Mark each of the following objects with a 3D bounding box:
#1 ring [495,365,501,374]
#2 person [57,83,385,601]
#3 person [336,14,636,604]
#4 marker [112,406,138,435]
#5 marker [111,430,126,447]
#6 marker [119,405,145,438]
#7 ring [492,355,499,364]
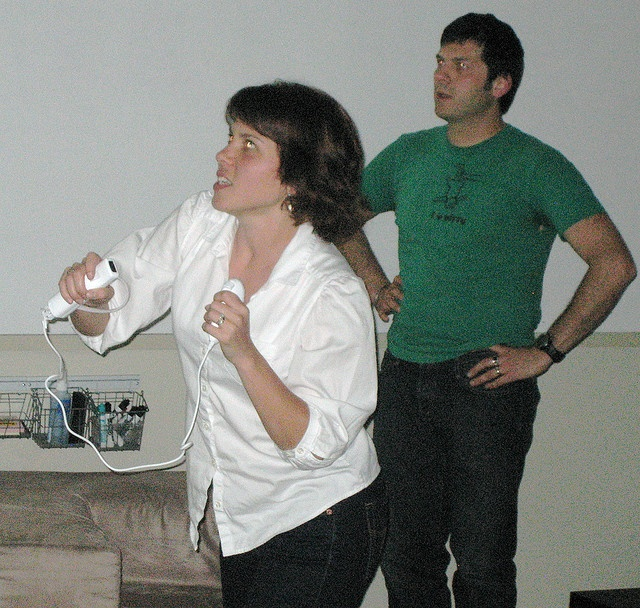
[{"bbox_3d":[0.454,0.168,2.176,0.004,0.018,0.012,-2,-18,44],"label":"ring"},{"bbox_3d":[-0.207,0.089,1.839,0.753,1.107,0.513,4,13,6],"label":"person"},{"bbox_3d":[0.431,0.052,2.278,0.735,1.592,0.385,7,14,16],"label":"person"},{"bbox_3d":[-0.594,0.351,2.604,0.046,0.055,0.136,1,19,-2],"label":"marker"},{"bbox_3d":[-0.623,0.408,2.620,0.013,0.047,0.049,-7,-3,30],"label":"marker"},{"bbox_3d":[-0.579,0.374,2.603,0.062,0.066,0.050,0,-9,-23],"label":"marker"},{"bbox_3d":[0.448,0.140,2.179,0.015,0.021,0.007,5,-5,5],"label":"ring"}]
